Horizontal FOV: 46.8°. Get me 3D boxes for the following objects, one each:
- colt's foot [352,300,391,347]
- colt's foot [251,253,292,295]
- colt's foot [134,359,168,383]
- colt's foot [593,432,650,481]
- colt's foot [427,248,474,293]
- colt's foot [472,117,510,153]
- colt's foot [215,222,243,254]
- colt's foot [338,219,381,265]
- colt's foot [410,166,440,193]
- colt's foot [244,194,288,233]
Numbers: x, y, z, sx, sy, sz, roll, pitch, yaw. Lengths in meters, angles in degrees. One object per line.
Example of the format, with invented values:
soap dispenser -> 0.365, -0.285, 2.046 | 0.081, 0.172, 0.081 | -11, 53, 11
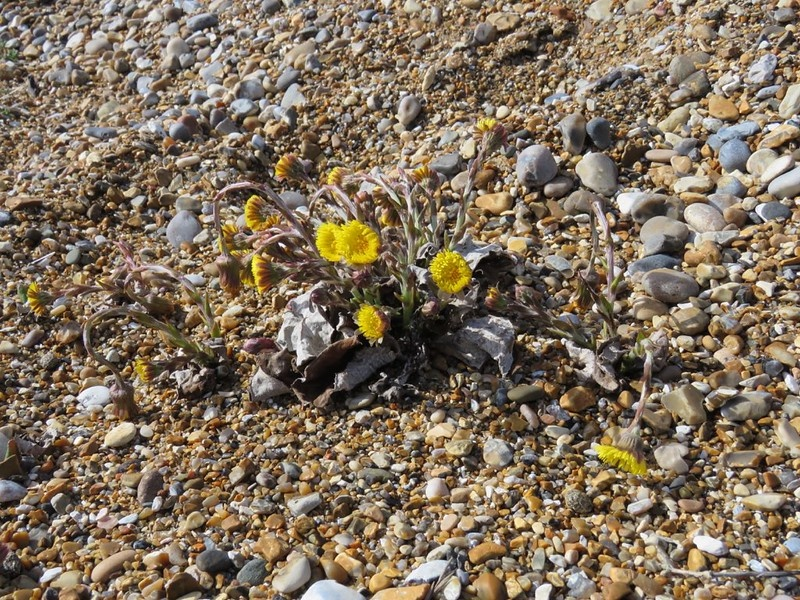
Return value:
colt's foot -> -0.108, 0.076, 3.545 | 0.090, 0.149, 0.152 | -21, 58, -14
colt's foot -> -0.490, -0.107, 3.591 | 0.204, 0.105, 0.129 | -7, 9, -29
colt's foot -> -1.043, 0.299, 3.861 | 0.082, 0.144, 0.076 | 8, 96, 16
colt's foot -> 0.815, 0.568, 3.346 | 0.085, 0.197, 0.189 | -54, 44, 5
colt's foot -> 0.172, -0.107, 3.466 | 0.141, 0.155, 0.115 | 55, 132, 40
colt's foot -> 0.369, -0.662, 3.823 | 0.117, 0.142, 0.109 | -29, 47, -2
colt's foot -> -0.689, -0.244, 3.678 | 0.113, 0.047, 0.114 | 3, 89, 58
colt's foot -> -0.176, -0.211, 3.494 | 0.159, 0.145, 0.106 | -32, 11, 22
colt's foot -> 0.095, -0.494, 3.778 | 0.088, 0.125, 0.067 | -17, 20, 7
colt's foot -> -0.575, -0.354, 3.820 | 0.100, 0.178, 0.102 | 38, 113, 46
